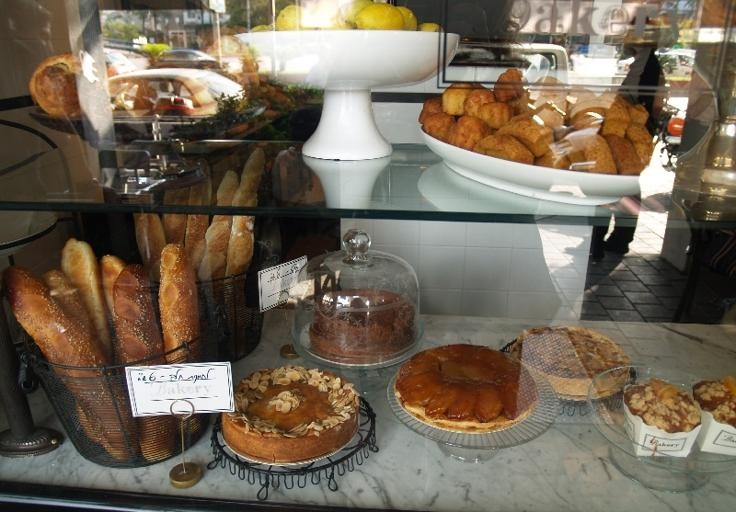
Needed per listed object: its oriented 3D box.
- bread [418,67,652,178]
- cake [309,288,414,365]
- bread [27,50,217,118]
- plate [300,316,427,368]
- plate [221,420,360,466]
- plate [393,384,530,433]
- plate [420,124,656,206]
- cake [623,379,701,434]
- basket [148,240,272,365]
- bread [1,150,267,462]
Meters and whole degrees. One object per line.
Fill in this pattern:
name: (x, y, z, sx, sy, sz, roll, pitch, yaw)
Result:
bread: (0.266, -0.199, 0.794, 0.236, 0.074, 0.231, 9, 13, -3)
cake: (-0.019, 0.141, 1.192, 0.285, 0.119, 0.271, -1, 7, -24)
bread: (-0.426, -0.289, 0.907, 0.250, 0.124, 0.077, 0, -15, -3)
plate: (-0.076, 0.178, 1.193, 0.305, 0.100, 0.280, 8, -8, -25)
plate: (-0.139, 0.323, 0.906, 0.135, 0.029, 0.128, 2, 12, 2)
plate: (0.179, 0.285, 0.965, 0.280, 0.027, 0.268, -4, 0, 11)
plate: (0.245, -0.143, 0.801, 0.313, 0.149, 0.089, -4, -16, 20)
cake: (0.537, 0.278, 0.953, 0.133, 0.044, 0.139, 0, 25, 29)
basket: (-0.307, 0.097, 1.067, 0.228, 0.171, 0.244, -1, 8, -3)
bread: (-0.416, 0.064, 1.140, 0.497, 0.214, 0.592, 1, 20, 4)
